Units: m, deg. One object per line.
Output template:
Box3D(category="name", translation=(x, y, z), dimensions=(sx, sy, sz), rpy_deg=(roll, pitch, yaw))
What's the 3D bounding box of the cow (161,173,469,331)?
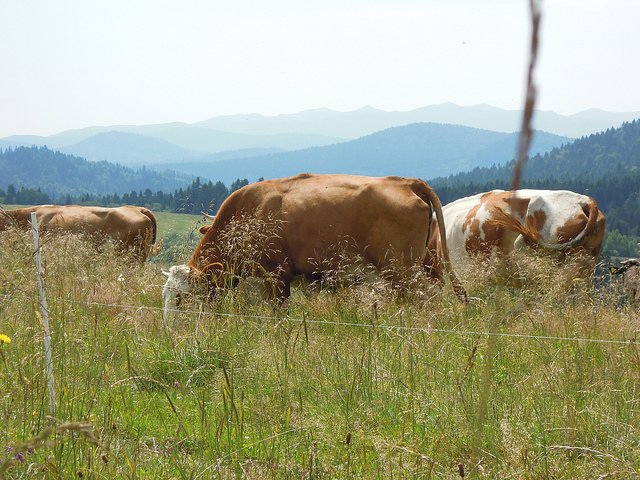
Box3D(category="cow", translation=(-0.181, 0.473, 9.129), dimensions=(4.045, 2.838, 1.181), rpy_deg=(-2, 4, 6))
